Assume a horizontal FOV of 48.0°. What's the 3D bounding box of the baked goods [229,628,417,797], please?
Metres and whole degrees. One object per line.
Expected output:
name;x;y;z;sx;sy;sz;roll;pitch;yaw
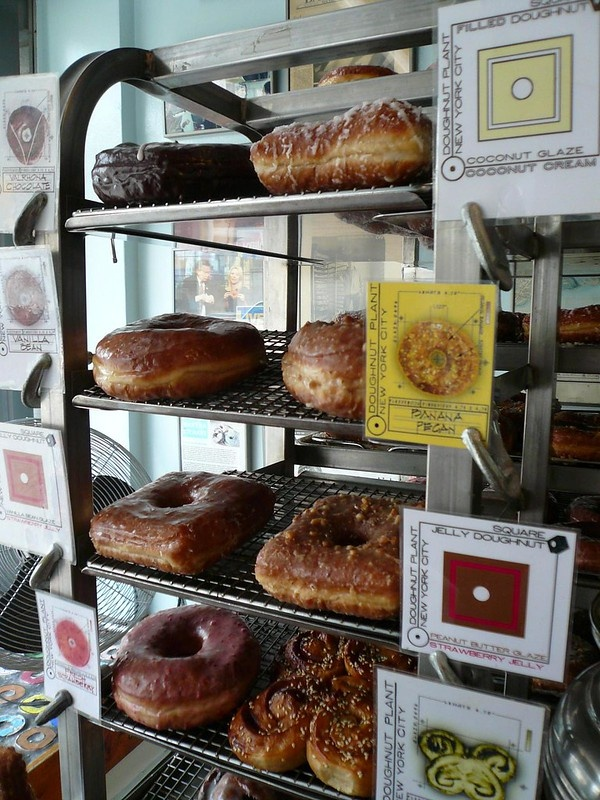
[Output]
baked goods;0.045;0.509;1.115;0.303;0.073;0.281;6;16;39

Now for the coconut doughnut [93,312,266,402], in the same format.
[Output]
coconut doughnut;-0.248;-0.107;1.145;0.194;0.062;0.198;-14;19;-38

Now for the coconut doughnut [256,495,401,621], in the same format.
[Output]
coconut doughnut;0.087;0.236;1.074;0.262;0.080;0.255;-1;21;24

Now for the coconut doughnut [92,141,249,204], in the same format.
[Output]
coconut doughnut;-0.202;-0.347;1.106;0.148;0.063;0.191;10;20;40

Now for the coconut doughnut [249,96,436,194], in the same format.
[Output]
coconut doughnut;0.044;-0.338;0.936;0.255;0.090;0.128;7;24;37

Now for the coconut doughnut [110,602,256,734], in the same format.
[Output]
coconut doughnut;-0.212;0.484;1.253;0.297;0.100;0.281;-14;15;3

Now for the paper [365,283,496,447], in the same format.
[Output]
paper;0.150;-0.045;0.748;0.191;0.230;0.028;4;8;27

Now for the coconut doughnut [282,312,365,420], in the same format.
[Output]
coconut doughnut;0.036;-0.060;0.979;0.137;0.053;0.151;-2;24;2
